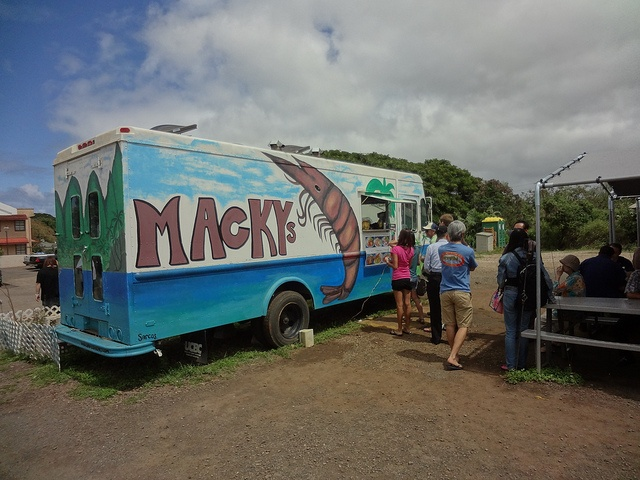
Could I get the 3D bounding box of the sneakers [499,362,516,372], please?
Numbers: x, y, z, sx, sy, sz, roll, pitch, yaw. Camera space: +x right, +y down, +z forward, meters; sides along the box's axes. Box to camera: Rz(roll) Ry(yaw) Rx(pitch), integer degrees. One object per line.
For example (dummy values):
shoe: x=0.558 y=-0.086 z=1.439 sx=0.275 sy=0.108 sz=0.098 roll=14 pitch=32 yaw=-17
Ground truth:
sneakers: x=2.843 y=1.952 z=5.990 sx=0.068 sy=0.100 sz=0.201 roll=0 pitch=1 yaw=6

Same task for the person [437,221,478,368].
person: x=2.189 y=0.874 z=6.327 sx=0.560 sy=2.322 sz=0.788 roll=0 pitch=7 yaw=20

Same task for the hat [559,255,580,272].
hat: x=4.175 y=0.382 z=6.594 sx=0.249 sy=0.151 sz=0.273 roll=19 pitch=4 yaw=26

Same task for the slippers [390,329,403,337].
slippers: x=1.537 y=1.899 z=8.023 sx=0.090 sy=0.104 sz=0.242 roll=-2 pitch=7 yaw=-39

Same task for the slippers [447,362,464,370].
slippers: x=2.095 y=1.993 z=6.161 sx=0.204 sy=0.066 sz=0.120 roll=0 pitch=-3 yaw=6
